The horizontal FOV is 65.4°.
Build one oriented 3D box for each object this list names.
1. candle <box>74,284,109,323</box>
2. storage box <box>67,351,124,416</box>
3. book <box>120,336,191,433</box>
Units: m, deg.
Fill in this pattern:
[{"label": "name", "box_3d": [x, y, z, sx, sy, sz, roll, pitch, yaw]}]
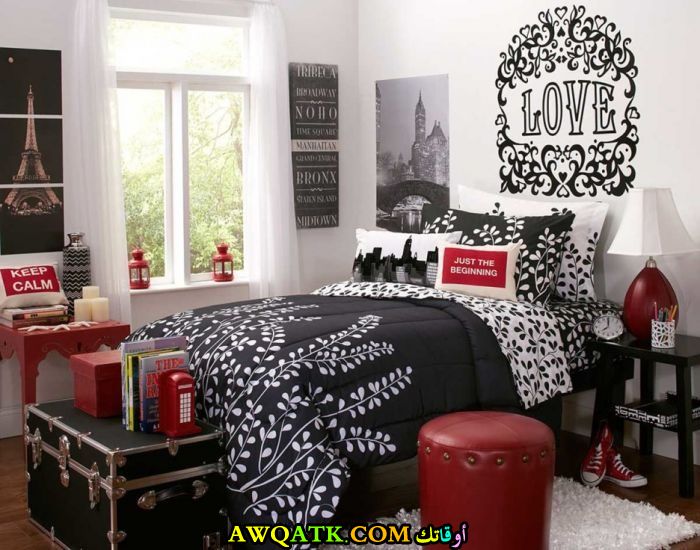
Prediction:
[{"label": "candle", "box_3d": [-1.606, 0.150, 3.349, 0.198, 0.205, 0.195, 5, 6, 34]}, {"label": "storage box", "box_3d": [-1.043, 0.433, 2.264, 0.226, 0.234, 0.225, 0, 1, -43]}, {"label": "book", "box_3d": [-0.745, 0.405, 2.067, 0.235, 0.324, 0.185, -1, 3, -26]}]
